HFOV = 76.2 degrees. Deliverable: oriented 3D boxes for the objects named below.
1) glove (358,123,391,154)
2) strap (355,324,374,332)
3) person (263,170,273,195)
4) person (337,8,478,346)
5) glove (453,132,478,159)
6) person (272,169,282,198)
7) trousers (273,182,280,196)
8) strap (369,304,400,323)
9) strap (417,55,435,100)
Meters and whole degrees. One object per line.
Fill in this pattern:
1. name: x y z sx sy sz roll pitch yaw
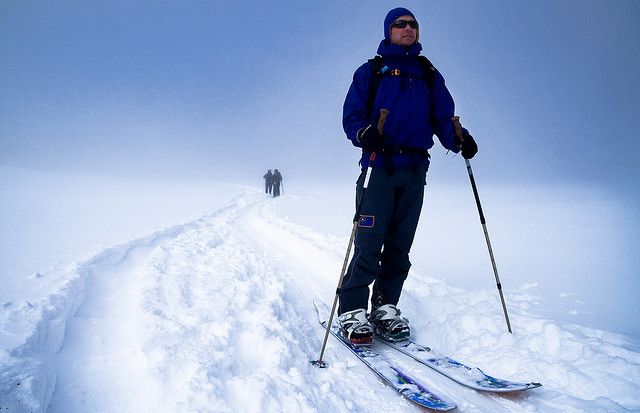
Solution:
1. glove: 0.608 -0.786 4.768 0.355 0.145 0.269 31 -21 33
2. strap: 0.522 1.447 4.933 0.132 0.063 0.158 0 -3 5
3. person: -3.254 -1.642 25.986 0.555 1.430 0.666 5 -3 -17
4. person: 0.928 -0.379 5.080 1.367 4.144 0.611 4 -3 -13
5. glove: 1.801 -0.778 5.079 0.276 0.306 0.234 3 -3 21
6. person: -2.745 -1.589 25.746 0.545 1.578 0.787 4 -3 -12
7. trousers: -2.790 -1.247 25.770 0.428 0.767 0.347 3 -3 11
8. strap: 0.809 1.345 5.201 0.182 0.114 0.278 7 -21 -36
9. strap: 1.338 -1.677 5.169 0.221 0.583 0.162 3 -3 17
